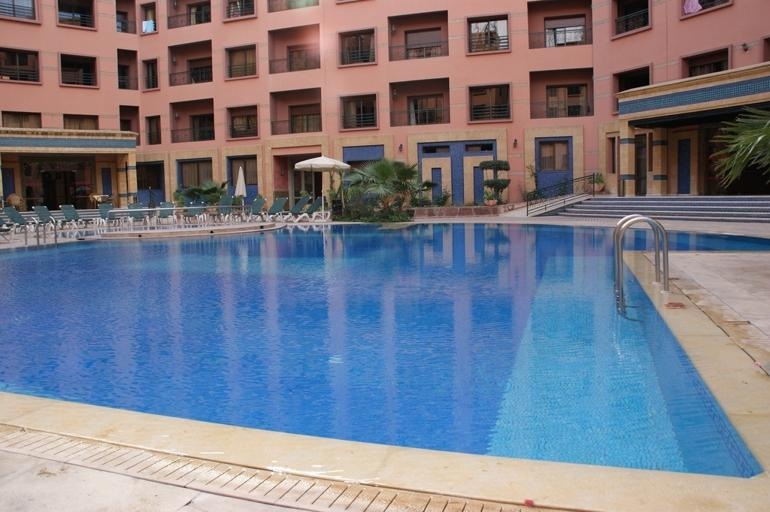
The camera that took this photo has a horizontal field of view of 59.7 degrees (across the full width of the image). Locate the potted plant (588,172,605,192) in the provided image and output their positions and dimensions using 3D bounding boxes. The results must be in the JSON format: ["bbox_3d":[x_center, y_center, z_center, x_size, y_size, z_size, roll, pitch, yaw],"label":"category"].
[{"bbox_3d":[9.598,-3.332,30.623,0.664,0.887,0.496,-2,6,15],"label":"potted plant"}]

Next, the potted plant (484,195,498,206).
[{"bbox_3d":[4.806,-2.538,30.740,0.610,0.370,0.564,-1,1,1],"label":"potted plant"}]
